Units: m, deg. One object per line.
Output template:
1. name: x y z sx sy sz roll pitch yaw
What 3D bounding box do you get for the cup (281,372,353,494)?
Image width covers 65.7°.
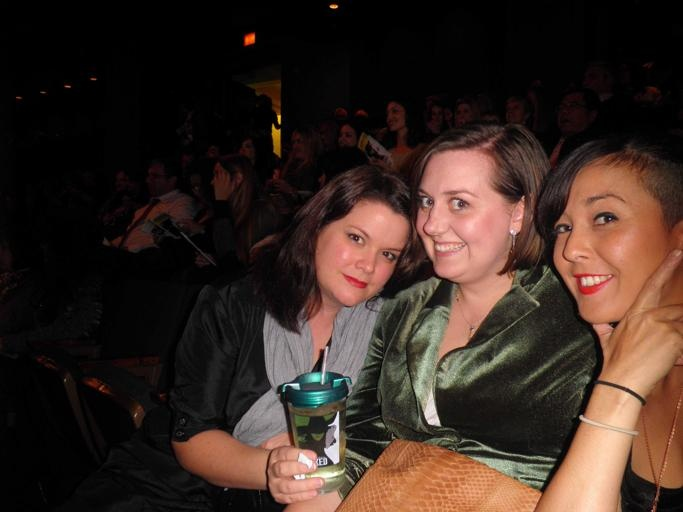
1. cup: -0.092 0.718 2.082 0.270 0.561 0.190 -1 10 -12
